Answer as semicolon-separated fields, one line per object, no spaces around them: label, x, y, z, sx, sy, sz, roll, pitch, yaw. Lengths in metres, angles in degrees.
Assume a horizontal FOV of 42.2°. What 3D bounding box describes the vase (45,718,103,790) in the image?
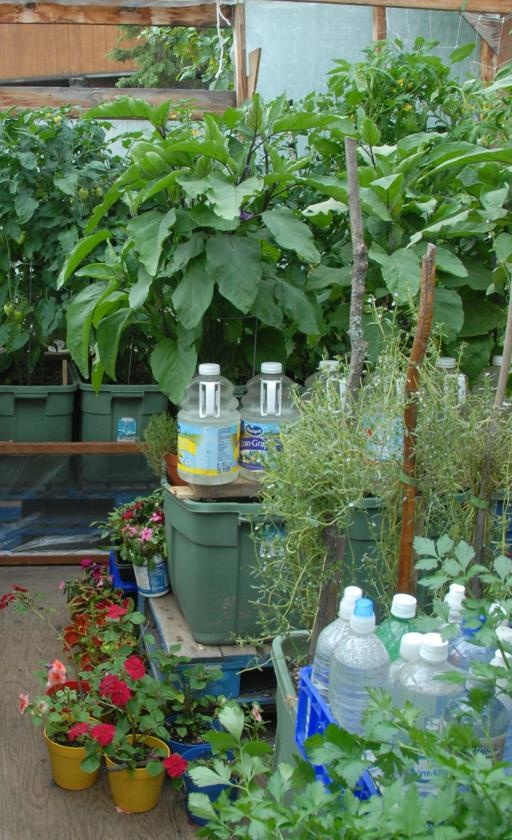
vase;-0.441;0.868;1.704;0.147;0.116;0.156;2;2;22

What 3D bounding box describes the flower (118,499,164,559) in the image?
flower;-0.416;0.406;2.283;0.188;0.163;0.188;3;41;-15

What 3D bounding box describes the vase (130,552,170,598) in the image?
vase;-0.338;0.516;2.150;0.114;0.149;0.095;2;7;-5

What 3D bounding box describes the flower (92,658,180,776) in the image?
flower;-0.320;0.733;1.626;0.176;0.228;0.275;15;-26;-11

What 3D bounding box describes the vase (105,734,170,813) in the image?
vase;-0.303;0.879;1.635;0.159;0.119;0.144;6;5;25

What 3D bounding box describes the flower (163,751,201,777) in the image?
flower;-0.162;0.763;1.463;0.068;0.063;0.026;-21;-26;-11
